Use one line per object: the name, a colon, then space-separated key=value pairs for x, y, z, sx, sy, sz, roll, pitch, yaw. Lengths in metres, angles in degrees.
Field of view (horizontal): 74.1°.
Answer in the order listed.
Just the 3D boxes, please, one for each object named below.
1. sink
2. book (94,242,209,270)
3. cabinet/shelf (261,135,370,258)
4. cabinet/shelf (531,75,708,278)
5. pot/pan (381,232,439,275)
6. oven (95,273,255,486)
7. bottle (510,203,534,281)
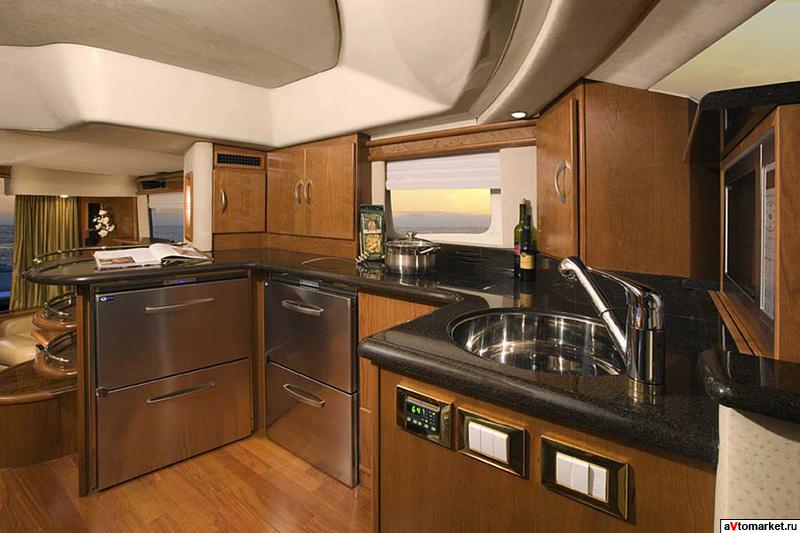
sink: x=0.521 y=0.351 z=2.309 sx=0.707 sy=0.164 sz=0.606 roll=-3 pitch=11 yaw=22
book: x=-1.644 y=-0.086 z=3.516 sx=0.681 sy=0.106 sz=0.626 roll=-5 pitch=8 yaw=-27
cabinet/shelf: x=-0.699 y=-0.557 z=4.226 sx=0.983 sy=0.780 sz=0.285 roll=6 pitch=9 yaw=35
cabinet/shelf: x=1.174 y=-0.413 z=2.823 sx=0.783 sy=1.151 sz=1.295 roll=0 pitch=1 yaw=2
pot/pan: x=0.084 y=-0.091 z=3.362 sx=0.389 sy=0.221 sz=0.338 roll=11 pitch=16 yaw=39
oven: x=-1.734 y=0.618 z=3.602 sx=1.028 sy=1.180 sz=1.097 roll=12 pitch=11 yaw=30
bottle: x=0.751 y=-0.176 z=3.234 sx=0.133 sy=0.472 sz=0.346 roll=0 pitch=7 yaw=13
